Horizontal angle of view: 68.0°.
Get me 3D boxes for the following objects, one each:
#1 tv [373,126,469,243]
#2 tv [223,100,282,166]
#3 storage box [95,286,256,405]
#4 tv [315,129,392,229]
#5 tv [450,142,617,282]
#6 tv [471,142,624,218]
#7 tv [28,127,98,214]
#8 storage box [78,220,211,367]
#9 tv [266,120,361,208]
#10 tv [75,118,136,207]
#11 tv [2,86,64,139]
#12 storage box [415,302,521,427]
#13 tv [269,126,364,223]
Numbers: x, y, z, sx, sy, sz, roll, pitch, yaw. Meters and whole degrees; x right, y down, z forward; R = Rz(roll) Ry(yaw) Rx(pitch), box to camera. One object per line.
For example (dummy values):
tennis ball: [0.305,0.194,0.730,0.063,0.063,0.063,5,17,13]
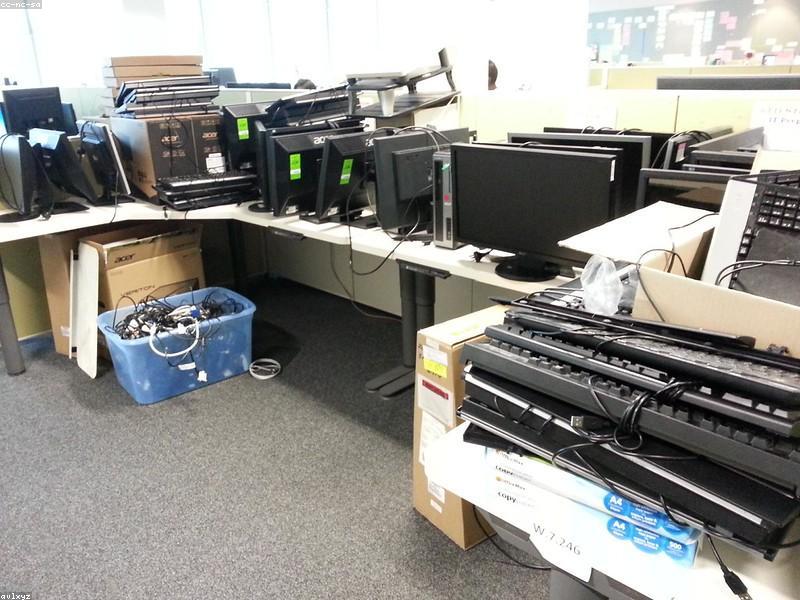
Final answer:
tv: [0.095,-0.526,2.625,0.479,0.419,0.152,-16,25,-35]
tv: [-0.836,-0.883,3.423,0.281,0.561,0.548,4,25,-9]
storage box: [-1.110,0.254,3.070,0.720,0.356,0.501,-14,25,-41]
tv: [-0.179,-0.576,2.783,0.157,0.398,0.458,22,29,27]
tv: [0.425,-0.297,2.105,0.582,0.424,0.215,2,-7,-24]
tv: [0.563,-0.436,2.093,0.533,0.236,0.340,15,29,35]
tv: [-1.799,-0.753,3.269,0.311,0.484,0.665,1,12,-21]
storage box: [-1.272,0.064,3.286,0.584,0.497,0.729,-18,52,-14]
tv: [-0.377,-0.608,2.846,0.480,0.422,0.152,-9,22,-22]
tv: [-1.603,-0.750,3.238,0.142,0.389,0.399,-23,38,-35]
tv: [-2.013,-1.018,3.228,0.160,0.303,0.319,19,27,31]
storage box: [0.189,0.198,1.708,0.380,0.349,0.212,-9,19,-38]
tv: [-0.464,-0.605,2.837,0.531,0.468,0.166,5,-6,20]
